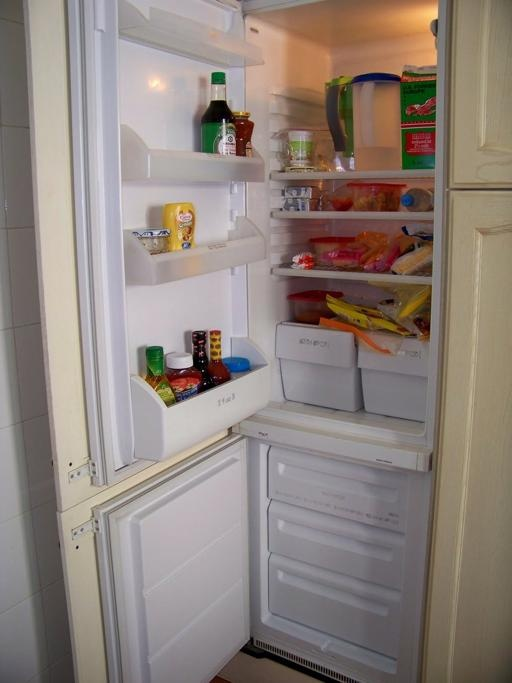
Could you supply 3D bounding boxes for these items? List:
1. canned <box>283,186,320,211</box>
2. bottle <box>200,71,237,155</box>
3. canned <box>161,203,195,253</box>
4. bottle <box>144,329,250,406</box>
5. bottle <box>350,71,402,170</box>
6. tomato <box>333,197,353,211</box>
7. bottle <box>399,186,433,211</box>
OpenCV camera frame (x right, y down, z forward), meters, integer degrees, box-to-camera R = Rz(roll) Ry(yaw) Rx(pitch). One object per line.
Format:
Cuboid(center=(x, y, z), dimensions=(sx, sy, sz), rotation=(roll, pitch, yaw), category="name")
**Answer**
Cuboid(center=(0.120, -0.417, 1.528), dimensions=(0.087, 0.062, 0.088), rotation=(10, 23, 26), category="canned")
Cuboid(center=(-0.089, -0.522, 1.253), dimensions=(0.083, 0.203, 0.188), rotation=(-3, 12, -1), category="bottle")
Cuboid(center=(-0.163, -0.236, 1.135), dimensions=(0.053, 0.133, 0.086), rotation=(8, 18, 23), category="canned")
Cuboid(center=(-0.097, 0.053, 1.235), dimensions=(0.083, 0.190, 0.280), rotation=(9, 18, 28), category="bottle")
Cuboid(center=(0.295, -0.536, 1.347), dimensions=(0.115, 0.213, 0.102), rotation=(0, 12, 12), category="bottle")
Cuboid(center=(0.234, -0.377, 1.500), dimensions=(0.056, 0.039, 0.032), rotation=(2, 4, 20), category="tomato")
Cuboid(center=(0.395, -0.362, 1.407), dimensions=(0.075, 0.057, 0.192), rotation=(-3, 12, -3), category="bottle")
